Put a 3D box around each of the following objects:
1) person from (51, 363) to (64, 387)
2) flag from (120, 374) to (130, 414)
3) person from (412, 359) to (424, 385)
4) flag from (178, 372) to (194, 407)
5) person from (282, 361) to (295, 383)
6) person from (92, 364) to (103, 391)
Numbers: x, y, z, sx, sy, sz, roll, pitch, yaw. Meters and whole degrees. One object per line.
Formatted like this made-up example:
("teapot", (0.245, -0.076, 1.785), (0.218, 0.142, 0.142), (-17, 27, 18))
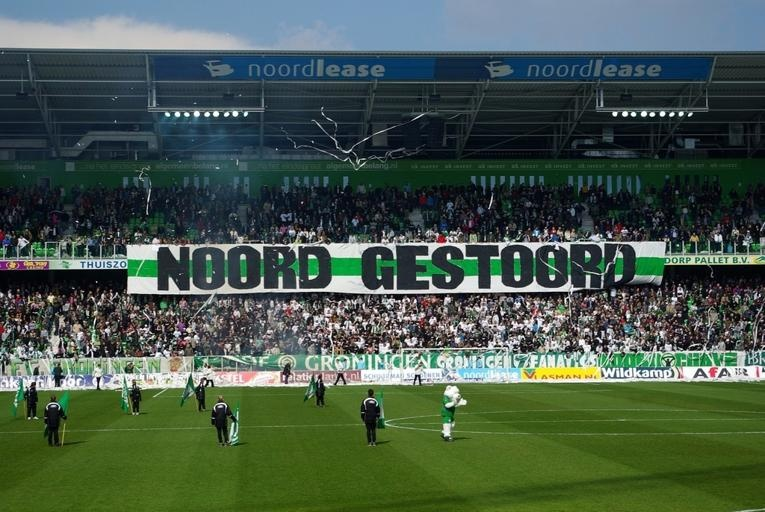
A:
("person", (-24.831, 9.126, 103.347), (0.705, 1.938, 0.983), (-2, -7, -2))
("flag", (-17.789, 9.542, 93.419), (0.554, 2.600, 3.319), (-1, -7, -12))
("person", (2.801, 9.131, 105.948), (0.703, 2.009, 1.159), (-2, -7, 2))
("flag", (-14.290, 9.830, 98.367), (0.118, 1.260, 2.272), (28, -31, 7))
("person", (-7.502, 9.159, 105.598), (0.817, 1.627, 0.466), (-1, -7, -10))
("person", (-21.774, 9.325, 103.635), (0.494, 1.840, 0.441), (0, -7, -20))
